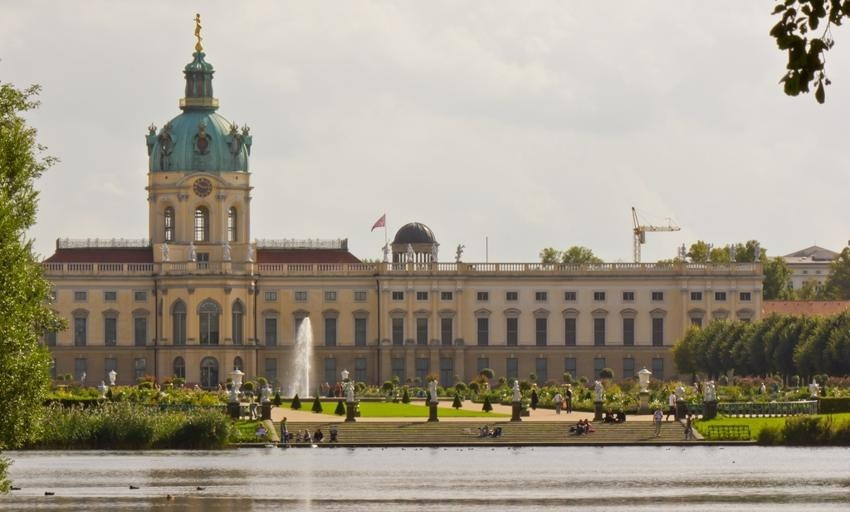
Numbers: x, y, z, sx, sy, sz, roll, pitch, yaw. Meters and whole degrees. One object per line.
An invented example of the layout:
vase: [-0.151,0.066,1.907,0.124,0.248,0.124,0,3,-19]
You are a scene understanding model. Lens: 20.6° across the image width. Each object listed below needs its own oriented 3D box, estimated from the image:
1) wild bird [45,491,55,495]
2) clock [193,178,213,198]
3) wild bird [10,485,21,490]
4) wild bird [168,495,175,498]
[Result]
wild bird: [-20.140,12.625,125.122,0.592,0.289,0.724,1,-11,-13]
clock: [-16.996,-5.308,177.267,1.483,1.402,0.156,-3,1,-8]
wild bird: [-22.095,12.431,126.009,0.529,0.324,0.764,1,-11,-10]
wild bird: [-13.562,12.760,124.257,0.436,0.268,0.592,1,-11,-10]
